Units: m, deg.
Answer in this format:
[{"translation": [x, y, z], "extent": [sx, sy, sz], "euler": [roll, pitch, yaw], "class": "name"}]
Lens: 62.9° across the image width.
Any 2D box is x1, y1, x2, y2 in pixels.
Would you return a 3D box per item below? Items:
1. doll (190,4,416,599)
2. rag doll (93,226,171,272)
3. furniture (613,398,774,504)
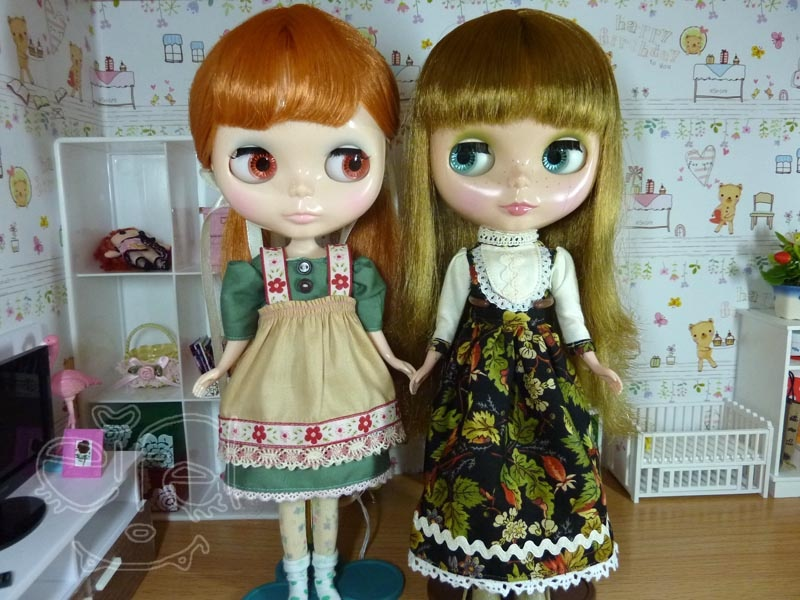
[{"translation": [-0.448, 0.044, 3.011], "extent": [0.960, 2.711, 0.594], "euler": [-3, 7, -16], "class": "doll"}, {"translation": [-1.439, -0.271, 3.556], "extent": [0.476, 0.224, 0.231], "euler": [-1, 7, 3], "class": "rag doll"}, {"translation": [1.696, 0.885, 3.724], "extent": [0.759, 0.500, 0.560], "euler": [-2, 5, -1], "class": "furniture"}]
